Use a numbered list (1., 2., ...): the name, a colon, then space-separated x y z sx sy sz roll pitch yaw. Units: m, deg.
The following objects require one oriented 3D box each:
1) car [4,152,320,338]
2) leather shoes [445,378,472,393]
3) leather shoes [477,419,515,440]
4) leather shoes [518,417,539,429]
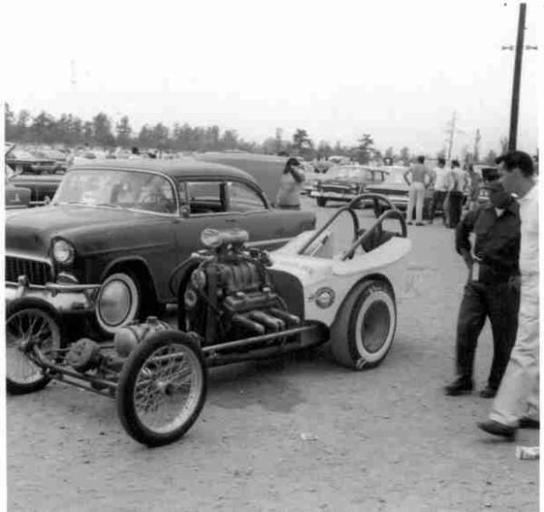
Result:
1. car: -1.400 -0.147 6.484 1.479 1.258 2.621 0 3 41
2. leather shoes: 1.466 1.030 4.892 0.240 0.119 0.093 1 2 -19
3. leather shoes: 1.440 1.110 3.968 0.173 0.096 0.144 16 -5 7
4. leather shoes: 1.768 1.141 4.253 0.120 0.090 0.060 3 9 13
